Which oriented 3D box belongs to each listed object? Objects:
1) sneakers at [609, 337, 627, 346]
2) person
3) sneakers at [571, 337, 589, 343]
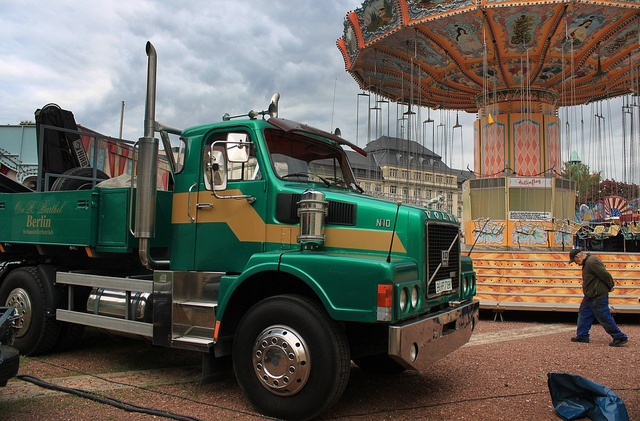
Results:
[{"bbox_3d":[6.683,2.915,11.568,0.461,0.206,0.189,0,6,-5],"label":"sneakers"},{"bbox_3d":[6.421,1.999,11.975,1.272,2.019,0.879,4,7,36],"label":"person"},{"bbox_3d":[5.986,2.988,11.925,0.342,0.167,0.143,9,-7,23],"label":"sneakers"}]
